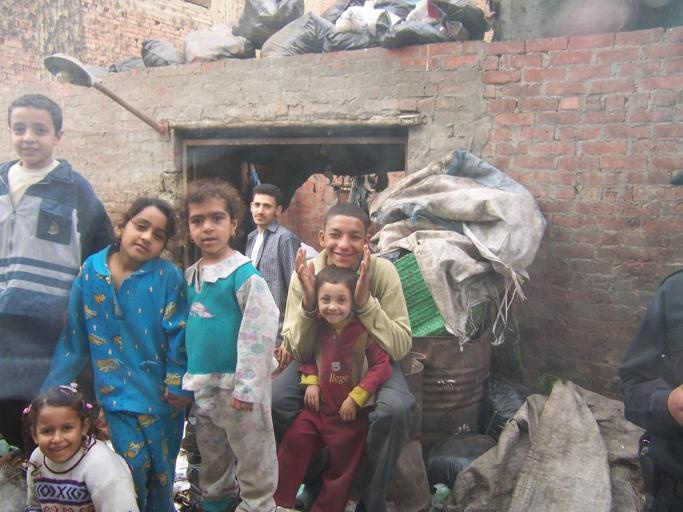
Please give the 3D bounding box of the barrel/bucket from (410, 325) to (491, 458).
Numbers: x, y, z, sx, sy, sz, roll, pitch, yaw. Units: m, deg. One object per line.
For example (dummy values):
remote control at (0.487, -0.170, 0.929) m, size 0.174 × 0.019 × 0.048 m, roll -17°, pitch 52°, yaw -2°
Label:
barrel/bucket at (0.853, 1.071, 6.337) m, size 0.802 × 1.269 × 0.790 m, roll -1°, pitch 4°, yaw 0°
